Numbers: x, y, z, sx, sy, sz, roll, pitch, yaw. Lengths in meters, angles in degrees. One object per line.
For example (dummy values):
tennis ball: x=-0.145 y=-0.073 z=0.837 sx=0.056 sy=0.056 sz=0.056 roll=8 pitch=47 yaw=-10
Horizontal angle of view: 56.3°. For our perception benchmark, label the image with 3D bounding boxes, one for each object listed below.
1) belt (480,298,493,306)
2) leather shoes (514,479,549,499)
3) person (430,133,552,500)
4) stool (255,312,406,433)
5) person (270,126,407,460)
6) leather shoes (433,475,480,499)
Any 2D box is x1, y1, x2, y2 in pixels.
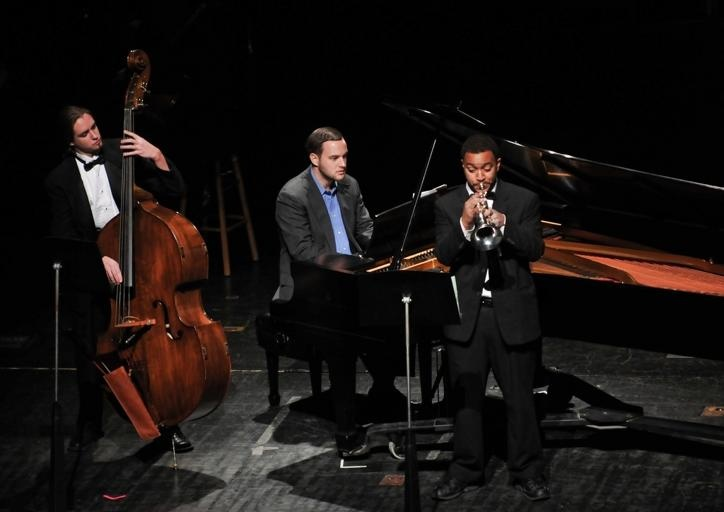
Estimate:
belt: x=0.679 y=0.253 z=3.675 sx=0.041 sy=0.024 sz=0.051 roll=1 pitch=7 yaw=-7
leather shoes: x=0.937 y=1.275 z=3.747 sx=0.079 sy=0.070 sz=0.179 roll=-8 pitch=4 yaw=-33
person: x=0.721 y=0.341 z=3.703 sx=0.646 sy=1.970 sz=0.538 roll=0 pitch=11 yaw=6
stool: x=-0.329 y=0.806 z=4.599 sx=0.790 sy=0.703 sz=1.105 roll=12 pitch=-9 yaw=-4
person: x=-0.175 y=0.187 z=4.479 sx=0.841 sy=2.038 sz=1.070 roll=0 pitch=10 yaw=1
leather shoes: x=0.522 y=1.285 z=3.769 sx=0.238 sy=0.082 sz=0.107 roll=-1 pitch=4 yaw=-24
